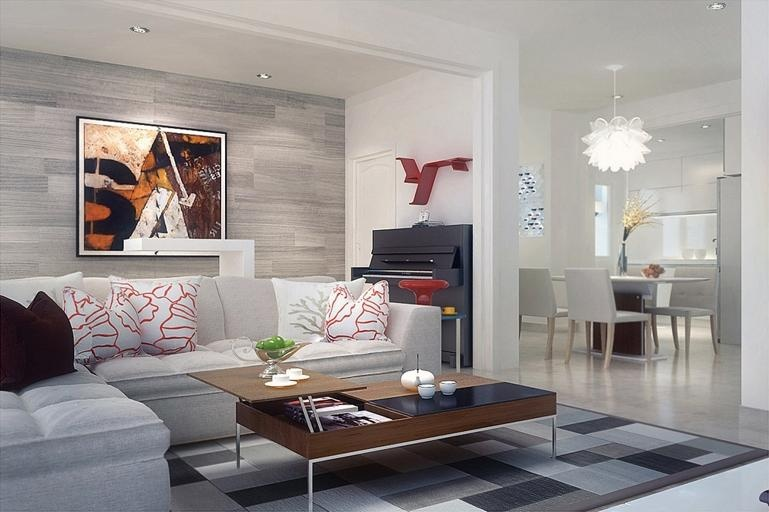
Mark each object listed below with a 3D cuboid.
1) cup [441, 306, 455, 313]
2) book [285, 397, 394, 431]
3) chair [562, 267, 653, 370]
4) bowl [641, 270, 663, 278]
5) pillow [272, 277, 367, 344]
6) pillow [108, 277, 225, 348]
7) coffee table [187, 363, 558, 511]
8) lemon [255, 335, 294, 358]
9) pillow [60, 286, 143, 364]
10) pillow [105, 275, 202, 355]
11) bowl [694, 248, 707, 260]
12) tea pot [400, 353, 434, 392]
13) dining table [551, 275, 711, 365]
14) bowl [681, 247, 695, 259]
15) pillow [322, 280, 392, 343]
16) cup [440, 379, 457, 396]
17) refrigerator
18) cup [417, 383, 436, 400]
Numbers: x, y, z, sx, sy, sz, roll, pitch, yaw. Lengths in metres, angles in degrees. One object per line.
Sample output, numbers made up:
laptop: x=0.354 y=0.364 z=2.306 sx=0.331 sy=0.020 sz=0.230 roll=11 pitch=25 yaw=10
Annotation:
cup: x=0.653 y=0.539 z=5.163 sx=0.101 sy=0.043 sz=0.067 roll=-4 pitch=-4 yaw=17
book: x=-0.275 y=0.904 z=2.954 sx=0.339 sy=0.060 sz=0.301 roll=0 pitch=1 yaw=-37
chair: x=2.680 y=0.700 z=6.133 sx=1.057 sy=0.962 sz=0.920 roll=1 pitch=-3 yaw=10
bowl: x=3.481 y=0.248 z=6.731 sx=0.230 sy=0.059 sz=0.203 roll=1 pitch=0 yaw=8
pillow: x=-0.592 y=0.497 z=4.442 sx=0.904 sy=0.546 sz=0.270 roll=2 pitch=-3 yaw=-34
pillow: x=-1.762 y=0.461 z=3.837 sx=0.332 sy=0.573 sz=0.730 roll=1 pitch=-1 yaw=29
coffee table: x=-0.054 y=0.983 z=3.136 sx=2.002 sy=0.585 sz=0.848 roll=-1 pitch=4 yaw=-21
lemon: x=-0.650 y=0.536 z=3.033 sx=0.170 sy=0.072 sz=0.151 roll=0 pitch=-3 yaw=7
pillow: x=-1.974 y=0.486 z=3.714 sx=0.653 sy=0.499 sz=0.350 roll=-14 pitch=-7 yaw=27
pillow: x=-1.697 y=0.444 z=3.741 sx=0.633 sy=0.497 sz=0.296 roll=-1 pitch=-30 yaw=-18
bowl: x=5.758 y=-0.032 z=9.341 sx=0.183 sy=0.177 sz=0.106 roll=2 pitch=5 yaw=21
tea pot: x=0.217 y=0.741 z=3.267 sx=0.239 sy=0.189 sz=0.219 roll=-3 pitch=4 yaw=0
dining table: x=2.782 y=0.705 z=6.216 sx=1.019 sy=0.905 sz=1.675 roll=5 pitch=-6 yaw=-27
bowl: x=5.643 y=-0.037 z=9.491 sx=0.169 sy=0.190 sz=0.259 roll=0 pitch=4 yaw=-10
pillow: x=-0.209 y=0.477 z=4.327 sx=0.660 sy=0.464 sz=0.335 roll=-3 pitch=0 yaw=26
cup: x=0.389 y=0.817 z=3.201 sx=0.102 sy=0.053 sz=0.100 roll=0 pitch=-5 yaw=0
refrigerator: x=4.863 y=0.038 z=7.247 sx=0.265 sy=2.356 sz=0.460 roll=2 pitch=5 yaw=18
cup: x=0.255 y=0.812 z=3.083 sx=0.104 sy=0.052 sz=0.095 roll=0 pitch=-10 yaw=0
